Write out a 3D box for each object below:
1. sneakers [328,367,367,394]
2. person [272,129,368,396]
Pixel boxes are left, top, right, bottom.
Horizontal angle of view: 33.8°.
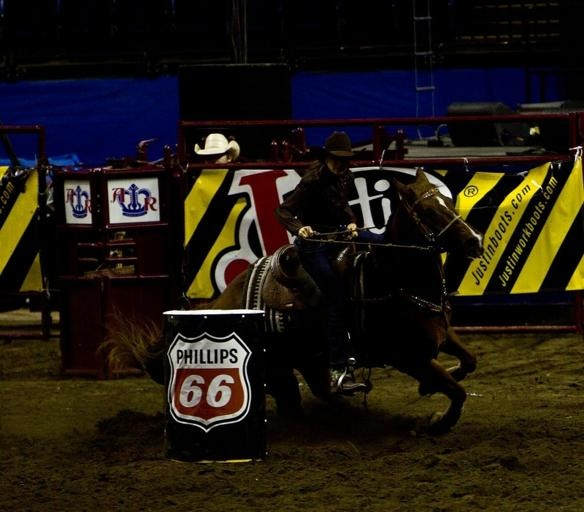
[{"bbox_3d":[0.480,1.089,8.265,0.309,0.104,0.201,4,46,-2],"label":"sneakers"},{"bbox_3d":[0.282,0.032,8.325,0.802,1.994,0.935,-2,3,26],"label":"person"}]
